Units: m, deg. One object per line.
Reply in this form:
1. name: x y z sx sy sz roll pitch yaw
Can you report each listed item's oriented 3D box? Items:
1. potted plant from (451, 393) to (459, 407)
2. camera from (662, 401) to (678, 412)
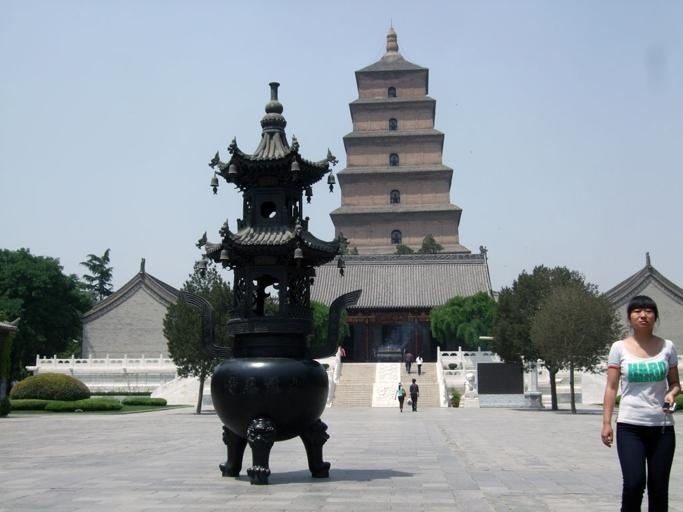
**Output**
1. potted plant: 5.117 6.543 40.578 0.409 0.521 0.451 0 -7 -4
2. camera: 4.372 1.998 11.898 0.139 0.141 0.249 0 -12 22
